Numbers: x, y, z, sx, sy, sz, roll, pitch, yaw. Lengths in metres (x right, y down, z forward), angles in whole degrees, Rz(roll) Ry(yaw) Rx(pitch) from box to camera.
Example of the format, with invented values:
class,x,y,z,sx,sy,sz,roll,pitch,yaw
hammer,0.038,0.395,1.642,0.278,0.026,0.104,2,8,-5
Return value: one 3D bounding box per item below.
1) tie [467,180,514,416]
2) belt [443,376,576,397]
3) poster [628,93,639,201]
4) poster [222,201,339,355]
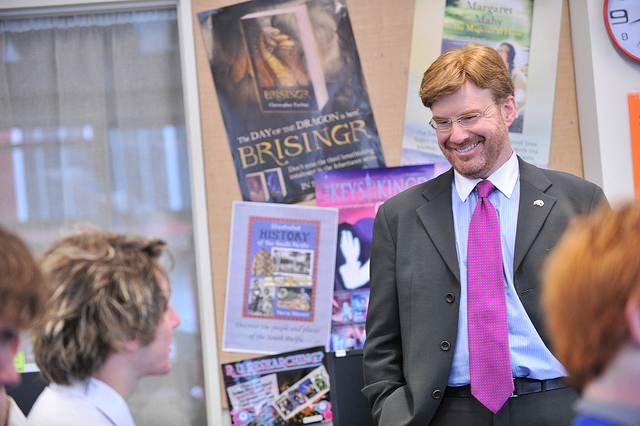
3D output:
class,x,y,z,sx,sy,sz,roll,pitch,yaw
tie,0.621,0.333,2.551,0.145,0.531,0.179,-4,2,11
belt,0.714,0.637,2.487,0.237,0.054,0.218,-5,-10,-7
poster,1.656,-0.363,3.565,0.047,0.534,0.099,-3,3,37
poster,-0.229,0.379,3.591,0.792,0.991,0.018,3,-7,-2
